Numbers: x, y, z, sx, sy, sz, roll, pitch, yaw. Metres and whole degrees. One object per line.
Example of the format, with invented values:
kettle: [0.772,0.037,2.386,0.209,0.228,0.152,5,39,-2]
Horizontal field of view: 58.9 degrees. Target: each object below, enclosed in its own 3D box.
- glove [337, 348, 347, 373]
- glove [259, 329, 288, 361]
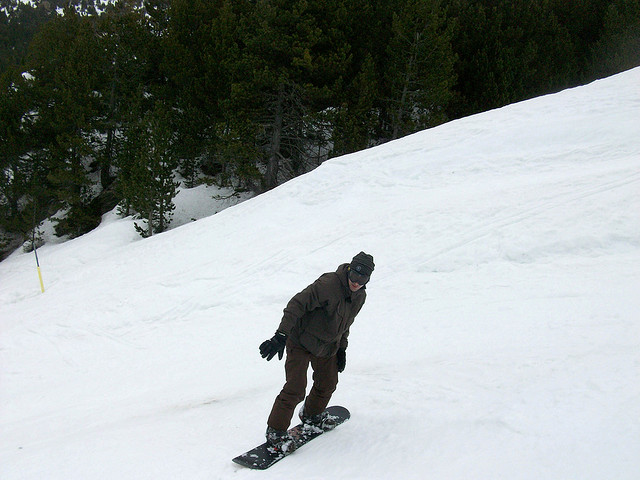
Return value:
glove: [0.324,1.804,8.653,0.105,0.399,0.099,-2,-5,23]
glove: [-0.669,1.499,8.138,0.448,0.308,0.136,-51,4,-17]
